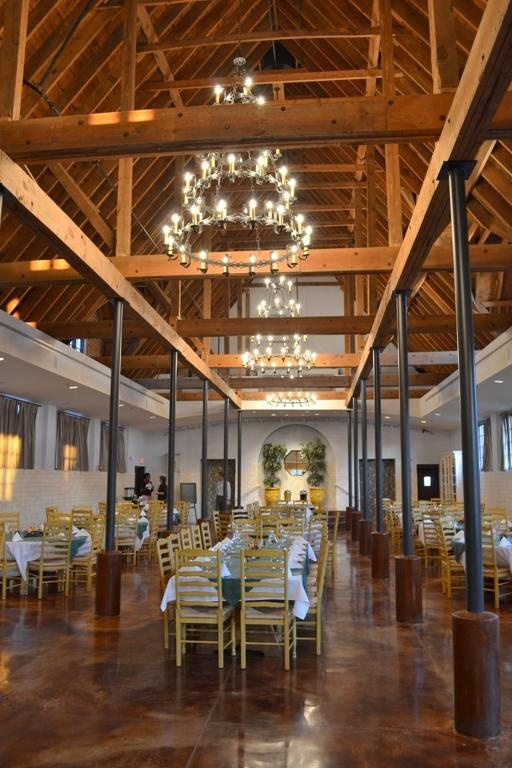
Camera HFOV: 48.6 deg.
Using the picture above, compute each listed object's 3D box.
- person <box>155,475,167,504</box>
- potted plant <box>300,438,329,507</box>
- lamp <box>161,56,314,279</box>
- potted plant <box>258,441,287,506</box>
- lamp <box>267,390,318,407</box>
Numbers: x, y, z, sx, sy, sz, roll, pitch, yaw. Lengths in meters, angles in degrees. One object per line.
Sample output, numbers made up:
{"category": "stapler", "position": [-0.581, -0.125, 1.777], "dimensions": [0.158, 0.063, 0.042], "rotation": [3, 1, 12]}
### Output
{"category": "person", "position": [-2.539, 2.870, 15.432], "dimensions": [0.208, 0.661, 1.033], "rotation": [1, -11, -11]}
{"category": "potted plant", "position": [2.316, 3.560, 21.845], "dimensions": [1.113, 2.853, 1.130], "rotation": [8, -16, -33]}
{"category": "lamp", "position": [-0.134, -2.134, 5.726], "dimensions": [1.232, 1.326, 1.954], "rotation": [14, -49, 24]}
{"category": "potted plant", "position": [0.659, 3.325, 21.380], "dimensions": [0.950, 2.374, 2.514], "rotation": [-1, -11, 1]}
{"category": "lamp", "position": [1.133, 0.422, 17.283], "dimensions": [1.369, 0.516, 1.957], "rotation": [-3, -11, 9]}
